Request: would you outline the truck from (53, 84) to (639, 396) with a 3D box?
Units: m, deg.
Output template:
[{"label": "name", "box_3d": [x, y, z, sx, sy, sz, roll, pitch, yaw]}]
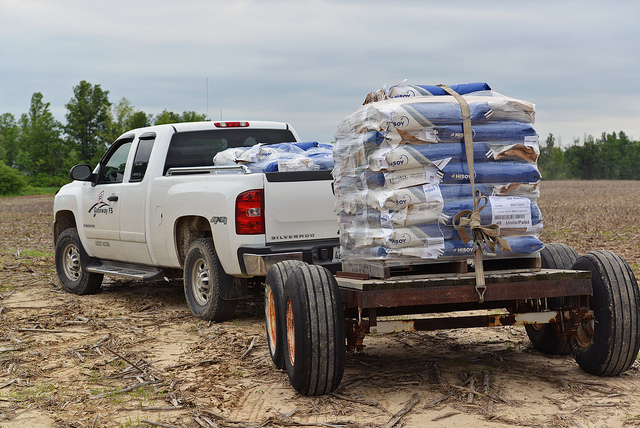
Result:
[{"label": "truck", "box_3d": [-0.577, 0.099, 9.693, 3.761, 1.929, 8.177, 1, 3, -32]}]

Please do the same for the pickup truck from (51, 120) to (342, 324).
[{"label": "pickup truck", "box_3d": [-1.730, -0.102, 10.805, 4.730, 1.714, 2.879, 5, 5, 44]}]
